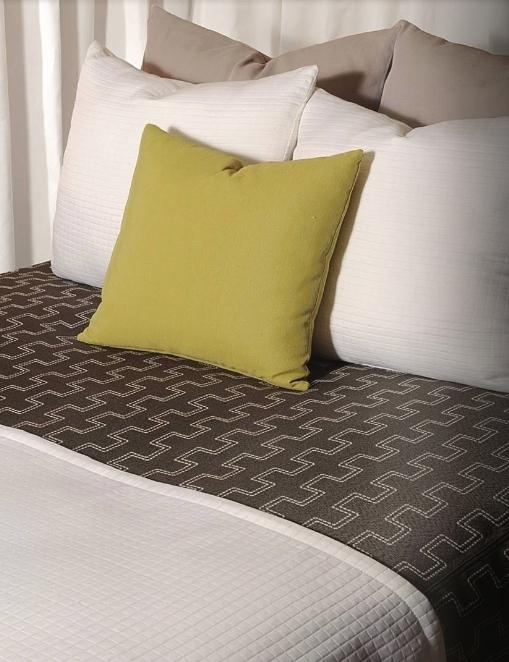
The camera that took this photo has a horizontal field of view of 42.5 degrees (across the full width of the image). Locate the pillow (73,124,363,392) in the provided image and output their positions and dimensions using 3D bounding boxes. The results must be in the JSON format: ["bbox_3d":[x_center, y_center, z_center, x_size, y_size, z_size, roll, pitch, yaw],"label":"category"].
[{"bbox_3d":[-0.024,-0.106,1.070,0.493,0.374,0.139,6,-12,23],"label":"pillow"}]
